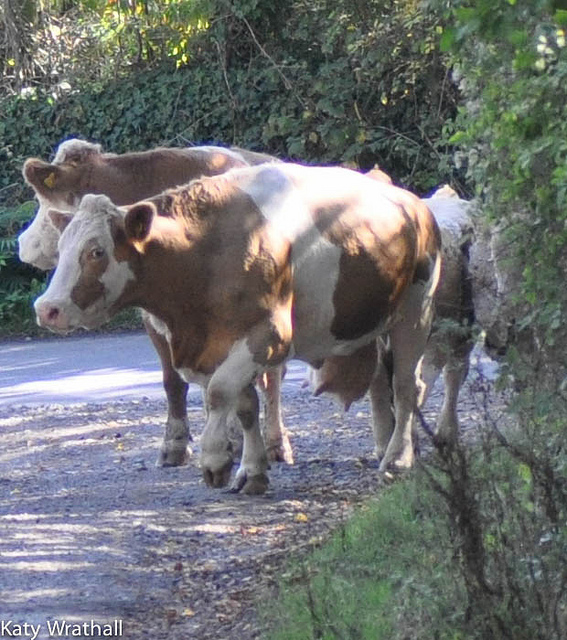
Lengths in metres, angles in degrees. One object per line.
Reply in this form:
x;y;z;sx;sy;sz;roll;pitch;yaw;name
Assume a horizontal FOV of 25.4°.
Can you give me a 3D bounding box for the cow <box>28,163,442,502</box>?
-0.094;0.095;6.083;0.722;1.688;2.306;1;8;40;cow
